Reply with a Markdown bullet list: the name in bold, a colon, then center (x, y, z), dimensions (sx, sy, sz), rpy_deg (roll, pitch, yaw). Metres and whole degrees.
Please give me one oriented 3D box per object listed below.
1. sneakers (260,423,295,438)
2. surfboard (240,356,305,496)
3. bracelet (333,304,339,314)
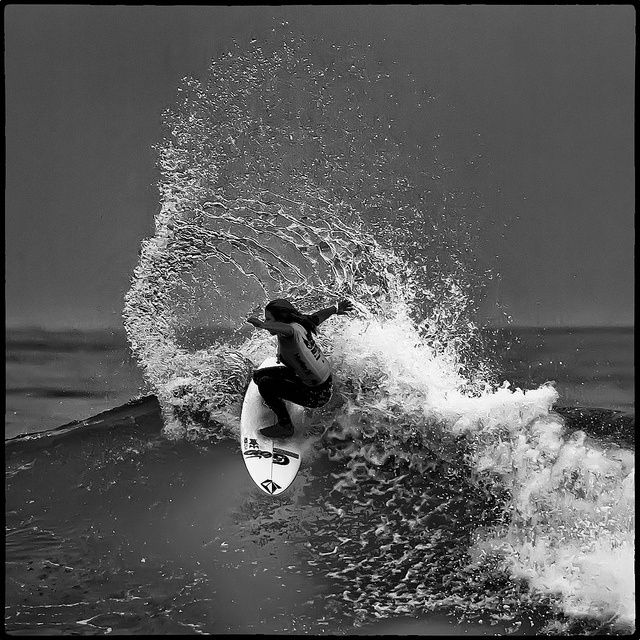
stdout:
- **sneakers**: center (-0.431, 1.156, 11.257), dimensions (0.362, 0.147, 0.242), rpy_deg (5, 95, 2)
- **surfboard**: center (-0.447, 1.029, 10.904), dimensions (0.715, 2.390, 0.304), rpy_deg (13, 51, 5)
- **bracelet**: center (0.169, -0.117, 10.991), dimensions (0.060, 0.074, 0.087), rpy_deg (5, 93, 18)
